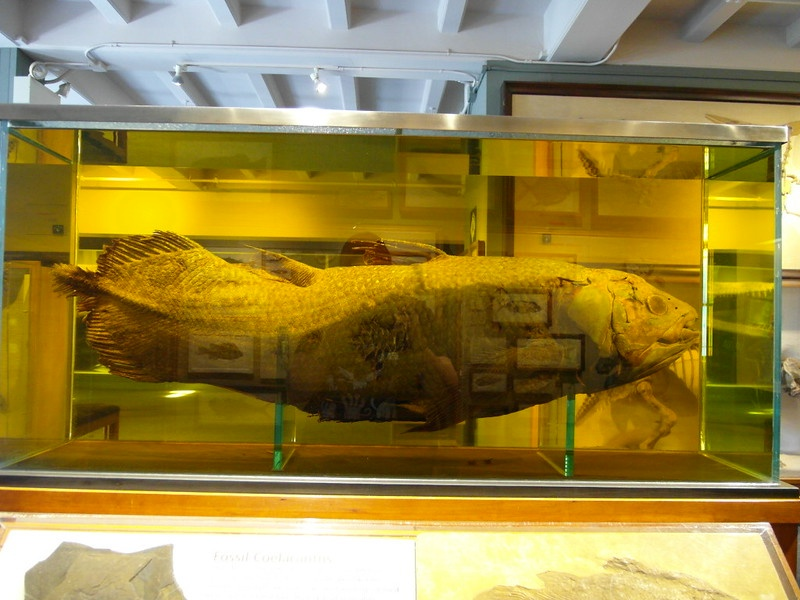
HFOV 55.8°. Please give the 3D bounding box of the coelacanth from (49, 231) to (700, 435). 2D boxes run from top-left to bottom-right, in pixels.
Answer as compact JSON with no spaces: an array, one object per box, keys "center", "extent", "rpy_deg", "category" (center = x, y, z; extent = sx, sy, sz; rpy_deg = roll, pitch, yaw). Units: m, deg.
[{"center":[-0.086,0.100,2.286],"extent":[1.909,0.128,0.557],"rpy_deg":[7,83,1],"category":"coelacanth"}]
